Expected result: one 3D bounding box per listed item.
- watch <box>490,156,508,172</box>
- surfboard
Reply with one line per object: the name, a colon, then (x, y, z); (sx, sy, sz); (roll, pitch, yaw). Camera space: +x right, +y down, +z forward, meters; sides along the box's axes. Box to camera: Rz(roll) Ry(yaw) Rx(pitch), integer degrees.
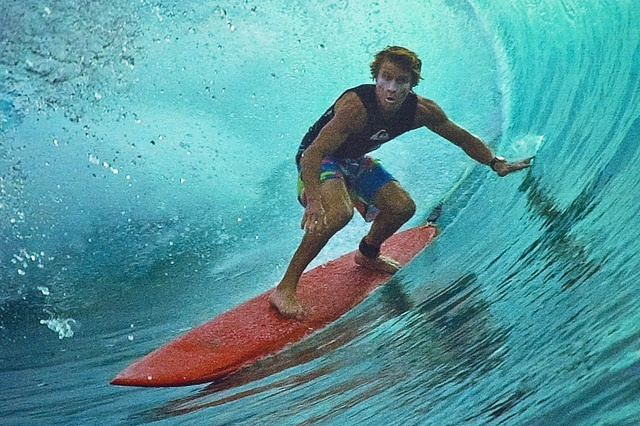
watch: (1.110, -0.306, 5.000); (0.058, 0.076, 0.105); (28, -45, -17)
surfboard: (-0.266, 0.635, 5.188); (2.224, 0.139, 0.380); (-20, 44, -17)
